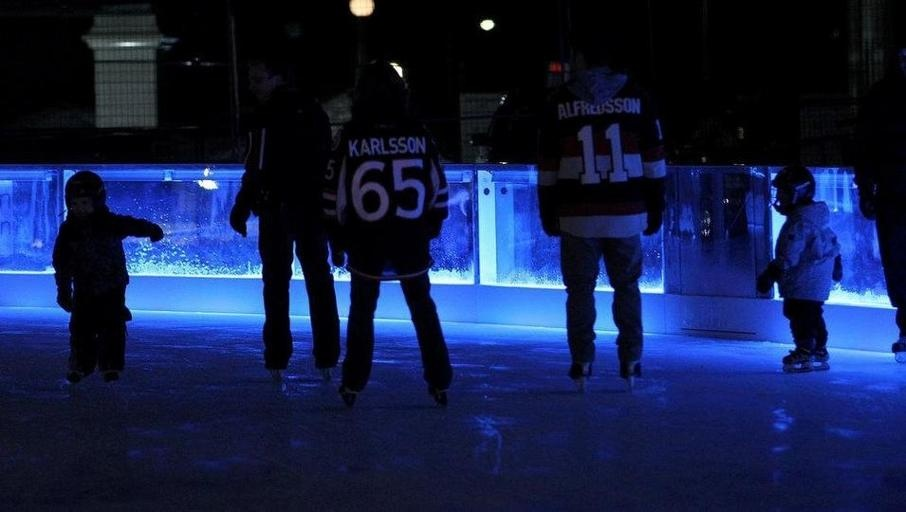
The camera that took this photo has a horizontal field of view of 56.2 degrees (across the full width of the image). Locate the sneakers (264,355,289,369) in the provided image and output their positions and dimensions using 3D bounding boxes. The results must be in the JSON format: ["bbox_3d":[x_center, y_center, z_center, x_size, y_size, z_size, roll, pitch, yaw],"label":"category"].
[{"bbox_3d":[-1.474,0.897,7.131,0.181,0.142,0.106,-2,12,-11],"label":"sneakers"}]

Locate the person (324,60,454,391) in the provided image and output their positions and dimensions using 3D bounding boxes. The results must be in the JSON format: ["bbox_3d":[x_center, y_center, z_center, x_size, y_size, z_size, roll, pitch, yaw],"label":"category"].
[{"bbox_3d":[-0.505,-0.180,6.516,0.924,2.603,0.666,-2,12,-8],"label":"person"}]

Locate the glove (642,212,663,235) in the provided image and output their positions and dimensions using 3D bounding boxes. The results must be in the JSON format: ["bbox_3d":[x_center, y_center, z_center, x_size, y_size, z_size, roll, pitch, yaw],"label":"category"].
[{"bbox_3d":[1.622,-0.257,6.940,0.196,0.171,0.196,0,-5,5],"label":"glove"}]

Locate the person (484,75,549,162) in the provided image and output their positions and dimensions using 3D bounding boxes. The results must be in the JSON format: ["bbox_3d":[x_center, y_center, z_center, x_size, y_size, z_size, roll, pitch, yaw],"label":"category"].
[{"bbox_3d":[0.701,-1.517,9.522,0.648,0.948,0.310,1,12,6],"label":"person"}]

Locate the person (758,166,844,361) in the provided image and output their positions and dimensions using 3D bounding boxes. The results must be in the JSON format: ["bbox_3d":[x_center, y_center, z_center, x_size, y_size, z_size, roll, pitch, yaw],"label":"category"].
[{"bbox_3d":[3.074,0.086,7.530,0.672,1.710,0.801,5,13,23],"label":"person"}]

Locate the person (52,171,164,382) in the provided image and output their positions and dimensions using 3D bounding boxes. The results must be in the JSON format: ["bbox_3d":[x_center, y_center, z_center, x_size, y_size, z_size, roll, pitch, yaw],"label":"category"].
[{"bbox_3d":[-2.830,0.210,6.916,0.714,1.768,0.653,-5,13,-23],"label":"person"}]

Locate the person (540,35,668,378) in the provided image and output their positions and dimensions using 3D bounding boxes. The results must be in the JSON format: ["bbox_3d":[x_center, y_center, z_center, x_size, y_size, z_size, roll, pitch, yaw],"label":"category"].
[{"bbox_3d":[1.187,-0.391,6.864,1.017,2.759,0.711,3,13,12],"label":"person"}]

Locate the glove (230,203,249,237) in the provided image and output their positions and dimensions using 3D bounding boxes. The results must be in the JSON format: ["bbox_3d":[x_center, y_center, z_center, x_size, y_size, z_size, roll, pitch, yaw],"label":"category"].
[{"bbox_3d":[-1.794,-0.276,7.214,0.133,0.288,0.207,-5,48,-8],"label":"glove"}]

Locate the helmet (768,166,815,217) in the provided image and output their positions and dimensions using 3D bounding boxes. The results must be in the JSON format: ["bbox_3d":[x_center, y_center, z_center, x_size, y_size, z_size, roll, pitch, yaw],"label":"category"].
[{"bbox_3d":[3.040,-0.612,7.910,0.513,0.473,0.413,3,1,8],"label":"helmet"}]
